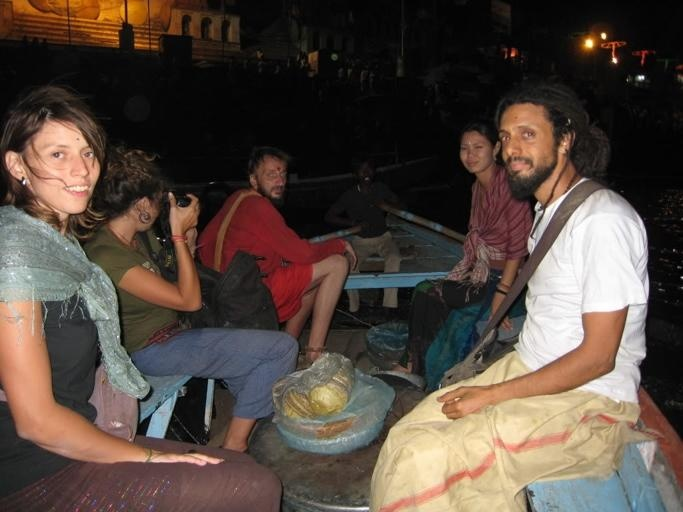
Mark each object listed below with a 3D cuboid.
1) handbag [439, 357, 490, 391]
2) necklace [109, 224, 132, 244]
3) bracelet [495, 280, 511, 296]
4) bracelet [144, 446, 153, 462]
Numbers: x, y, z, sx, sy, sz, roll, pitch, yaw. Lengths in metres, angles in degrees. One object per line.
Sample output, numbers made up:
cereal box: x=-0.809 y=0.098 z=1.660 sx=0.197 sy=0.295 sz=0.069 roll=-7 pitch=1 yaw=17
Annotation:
handbag: x=0.695 y=0.697 z=3.103 sx=0.226 sy=0.084 sz=0.181 roll=-32 pitch=11 yaw=11
necklace: x=-1.293 y=-0.123 z=3.200 sx=0.093 sy=0.042 sz=0.112 roll=41 pitch=-5 yaw=24
bracelet: x=1.145 y=0.238 z=3.858 sx=0.087 sy=0.092 sz=0.090 roll=10 pitch=8 yaw=-17
bracelet: x=-0.844 y=0.880 z=2.374 sx=0.017 sy=0.046 sz=0.034 roll=6 pitch=-13 yaw=-11
